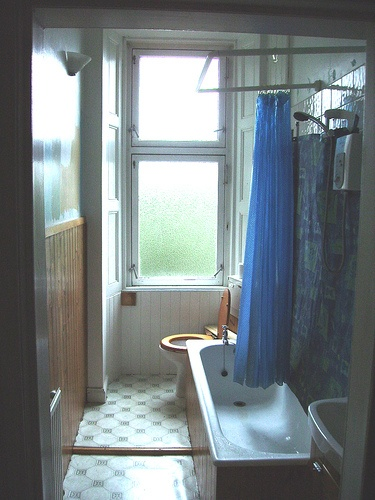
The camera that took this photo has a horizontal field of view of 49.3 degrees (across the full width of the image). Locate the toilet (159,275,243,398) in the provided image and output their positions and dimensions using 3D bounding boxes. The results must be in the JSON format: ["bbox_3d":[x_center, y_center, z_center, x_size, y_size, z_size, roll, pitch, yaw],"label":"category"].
[{"bbox_3d":[0.149,0.682,3.523,0.706,1.528,0.567,1,1,0],"label":"toilet"}]
